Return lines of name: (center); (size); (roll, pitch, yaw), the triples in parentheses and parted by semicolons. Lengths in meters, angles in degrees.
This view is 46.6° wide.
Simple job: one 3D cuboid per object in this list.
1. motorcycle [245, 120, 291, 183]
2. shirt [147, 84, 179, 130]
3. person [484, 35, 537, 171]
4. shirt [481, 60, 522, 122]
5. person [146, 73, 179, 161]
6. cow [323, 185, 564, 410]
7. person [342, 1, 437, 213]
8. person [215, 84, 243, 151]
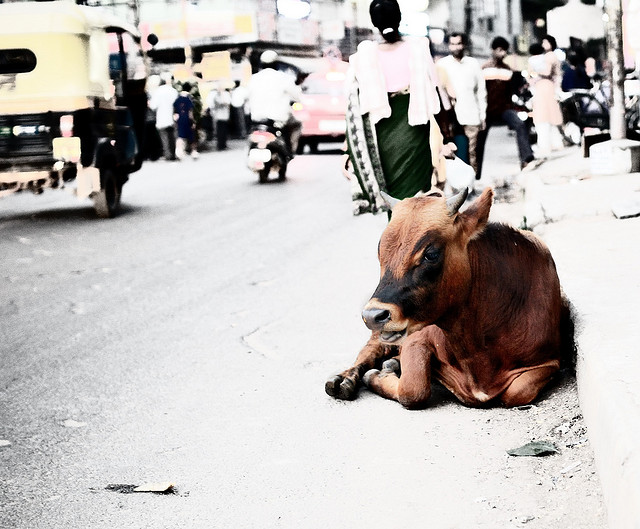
motorcycle: (-0.889, -1.800, 11.808); (0.593, 0.951, 0.994); (3, 16, 29)
shirt: (-2.982, -3.074, 14.513); (0.583, 0.793, 0.279); (1, 1, 11)
person: (2.557, -2.164, 10.281); (0.606, 1.894, 1.546); (1, 15, 22)
shirt: (2.452, -2.434, 10.373); (0.471, 0.765, 0.729); (3, 21, 12)
person: (-3.025, -2.854, 14.357); (0.476, 1.600, 0.824); (-4, 13, 2)
cow: (0.723, 0.222, 3.662); (1.561, 1.009, 0.704); (2, 14, 18)
person: (0.470, -1.058, 5.116); (0.644, 1.422, 0.371); (-4, 13, 5)
person: (-2.156, -3.372, 16.504); (0.521, 1.678, 0.499); (3, 36, -9)
